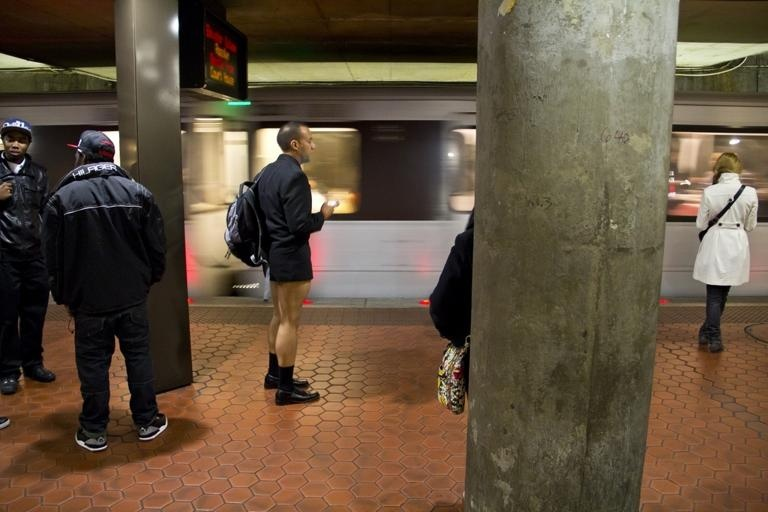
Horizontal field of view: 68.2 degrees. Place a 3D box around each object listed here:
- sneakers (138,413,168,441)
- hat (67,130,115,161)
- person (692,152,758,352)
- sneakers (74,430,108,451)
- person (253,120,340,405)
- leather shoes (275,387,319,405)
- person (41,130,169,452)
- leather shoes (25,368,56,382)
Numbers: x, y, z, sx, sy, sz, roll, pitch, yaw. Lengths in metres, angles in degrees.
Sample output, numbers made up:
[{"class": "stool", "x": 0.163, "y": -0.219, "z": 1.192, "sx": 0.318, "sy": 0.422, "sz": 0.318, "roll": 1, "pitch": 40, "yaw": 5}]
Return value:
[{"class": "sneakers", "x": -1.922, "y": 1.430, "z": 4.764, "sx": 0.118, "sy": 0.132, "sz": 0.313, "roll": 2, "pitch": 11, "yaw": 8}, {"class": "hat", "x": -2.418, "y": -0.892, "z": 4.649, "sx": 0.396, "sy": 0.188, "sz": 0.248, "roll": 24, "pitch": 28, "yaw": 11}, {"class": "person", "x": 4.006, "y": -0.045, "z": 6.739, "sx": 0.650, "sy": 2.296, "sz": 0.589, "roll": -13, "pitch": 19, "yaw": -42}, {"class": "sneakers", "x": -2.332, "y": 1.479, "z": 4.499, "sx": 0.117, "sy": 0.125, "sz": 0.312, "roll": 1, "pitch": 5, "yaw": -41}, {"class": "person", "x": -0.847, "y": 0.113, "z": 5.192, "sx": 0.554, "sy": 2.617, "sz": 0.548, "roll": -4, "pitch": 15, "yaw": -16}, {"class": "leather shoes", "x": -0.820, "y": 1.332, "z": 5.429, "sx": 0.451, "sy": 0.145, "sz": 0.157, "roll": -2, "pitch": 3, "yaw": -16}, {"class": "person", "x": -2.187, "y": 0.309, "z": 4.569, "sx": 0.866, "sy": 2.427, "sz": 0.595, "roll": -7, "pitch": 16, "yaw": -28}, {"class": "leather shoes", "x": -3.466, "y": 1.187, "z": 5.769, "sx": 0.377, "sy": 0.130, "sz": 0.131, "roll": 3, "pitch": 12, "yaw": 5}]
